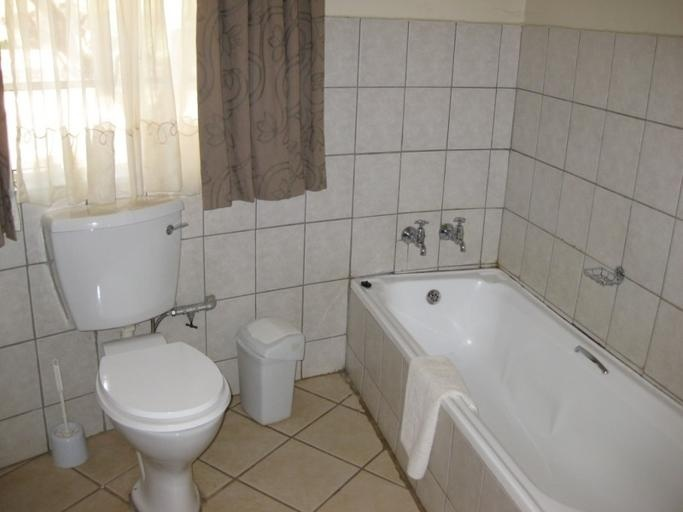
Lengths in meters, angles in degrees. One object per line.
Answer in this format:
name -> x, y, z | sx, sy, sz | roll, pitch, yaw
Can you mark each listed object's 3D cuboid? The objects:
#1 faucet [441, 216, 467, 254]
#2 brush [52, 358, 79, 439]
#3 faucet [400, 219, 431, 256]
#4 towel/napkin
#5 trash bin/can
faucet -> 0.635, -0.112, 2.957 | 0.134, 0.105, 0.189 | -8, 27, -21
brush -> -1.276, 0.644, 2.455 | 0.092, 0.338, 0.064 | -8, 27, -26
faucet -> 0.410, -0.098, 2.903 | 0.159, 0.213, 0.177 | -3, 22, -5
towel/napkin -> 0.380, 0.666, 2.206 | 0.262, 0.383, 0.355 | 1, 12, -22
trash bin/can -> -0.354, 0.563, 2.800 | 0.300, 0.540, 0.359 | -7, 23, -25
